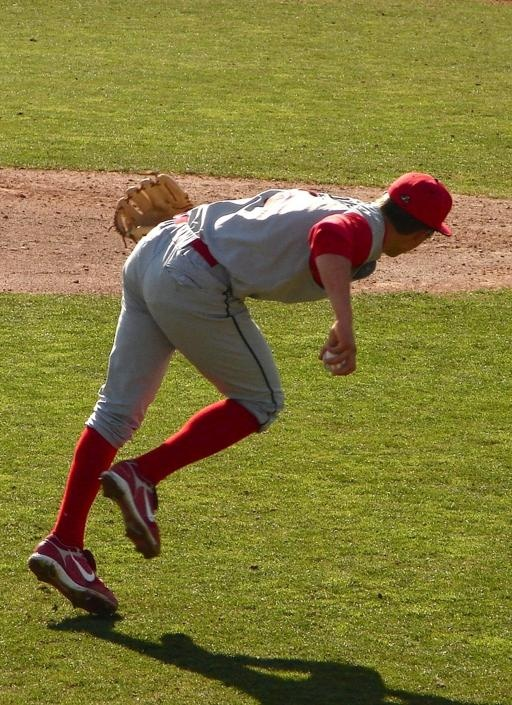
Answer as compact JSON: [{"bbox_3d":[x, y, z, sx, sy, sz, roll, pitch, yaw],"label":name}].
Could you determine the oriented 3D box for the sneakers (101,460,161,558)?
[{"bbox_3d":[-0.429,0.567,4.263,0.183,0.356,0.184,-6,22,-5],"label":"sneakers"}]

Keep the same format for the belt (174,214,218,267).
[{"bbox_3d":[-0.193,-0.399,4.296,0.052,0.155,0.211,-49,30,7],"label":"belt"}]

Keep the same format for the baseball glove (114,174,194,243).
[{"bbox_3d":[-0.446,-0.607,5.048,0.316,0.256,0.137,-28,15,22],"label":"baseball glove"}]

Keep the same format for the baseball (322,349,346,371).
[{"bbox_3d":[0.250,0.029,4.111,0.057,0.057,0.073,13,29,37],"label":"baseball"}]

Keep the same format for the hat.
[{"bbox_3d":[0.570,-0.520,4.253,0.261,0.144,0.182,32,21,-13],"label":"hat"}]
